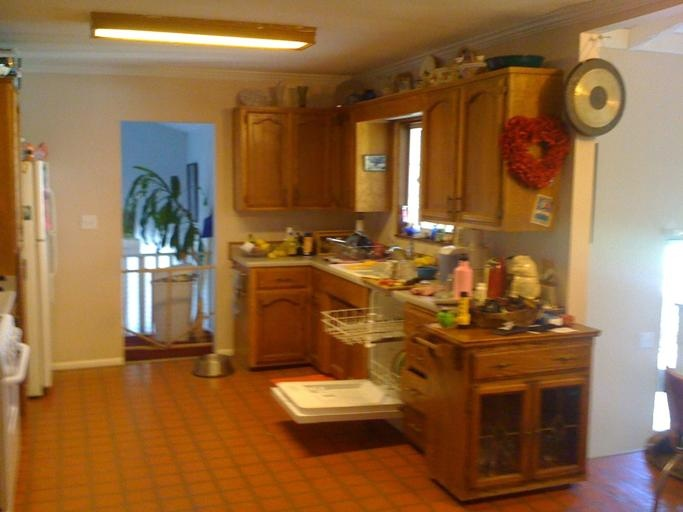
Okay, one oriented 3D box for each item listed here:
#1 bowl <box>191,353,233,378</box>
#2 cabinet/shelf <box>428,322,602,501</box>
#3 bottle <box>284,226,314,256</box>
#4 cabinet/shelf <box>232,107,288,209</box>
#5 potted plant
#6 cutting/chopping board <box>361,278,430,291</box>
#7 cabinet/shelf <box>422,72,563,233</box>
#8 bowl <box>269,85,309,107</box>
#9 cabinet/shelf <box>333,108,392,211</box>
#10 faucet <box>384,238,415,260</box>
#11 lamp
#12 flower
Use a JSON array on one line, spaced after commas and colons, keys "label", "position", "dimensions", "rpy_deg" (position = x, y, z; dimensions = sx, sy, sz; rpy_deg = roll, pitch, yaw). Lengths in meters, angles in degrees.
[{"label": "bowl", "position": [-1.296, 1.084, 5.491], "dimensions": [0.406, 0.182, 0.267], "rpy_deg": [0, 9, -3]}, {"label": "cabinet/shelf", "position": [1.019, 0.929, 3.319], "dimensions": [1.305, 0.958, 0.716], "rpy_deg": [-1, 3, -15]}, {"label": "bottle", "position": [-0.476, -0.158, 5.948], "dimensions": [0.409, 0.311, 0.208], "rpy_deg": [0, -3, -15]}, {"label": "cabinet/shelf", "position": [-0.913, -1.062, 5.902], "dimensions": [0.390, 1.011, 0.683], "rpy_deg": [14, 17, 43]}, {"label": "potted plant", "position": [-2.181, -0.088, 6.818], "dimensions": [1.017, 1.963, 2.046], "rpy_deg": [-3, 10, -19]}, {"label": "cutting/chopping board", "position": [0.417, 0.212, 4.299], "dimensions": [0.503, 0.061, 0.353], "rpy_deg": [1, 8, 3]}, {"label": "cabinet/shelf", "position": [1.066, -0.767, 4.121], "dimensions": [0.629, 1.006, 1.155], "rpy_deg": [-5, 12, -15]}, {"label": "bowl", "position": [-0.568, -1.741, 5.963], "dimensions": [0.434, 0.278, 0.397], "rpy_deg": [0, 9, 0]}, {"label": "cabinet/shelf", "position": [0.230, -0.971, 5.651], "dimensions": [0.396, 1.051, 0.632], "rpy_deg": [-7, 13, -37]}, {"label": "faucet", "position": [0.539, -0.082, 5.313], "dimensions": [0.260, 0.212, 0.181], "rpy_deg": [1, 1, -10]}, {"label": "lamp", "position": [-1.010, -1.667, 4.097], "dimensions": [1.606, 0.131, 0.333], "rpy_deg": [-2, 9, -14]}, {"label": "flower", "position": [1.236, -0.657, 3.587], "dimensions": [0.472, 0.438, 0.163], "rpy_deg": [2, 5, -17]}]
